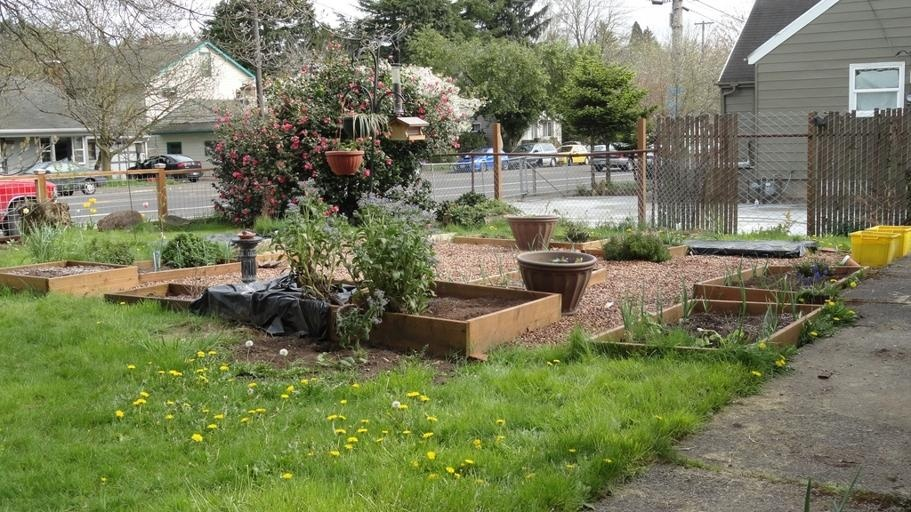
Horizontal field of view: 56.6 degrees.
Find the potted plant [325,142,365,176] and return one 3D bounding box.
[{"bbox_3d":[-1.985,-1.678,15.096,0.759,0.431,0.774,2,8,27],"label":"potted plant"}]

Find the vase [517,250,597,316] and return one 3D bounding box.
[{"bbox_3d":[1.539,0.437,12.842,1.093,0.757,1.084,2,4,20],"label":"vase"}]

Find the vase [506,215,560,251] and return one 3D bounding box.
[{"bbox_3d":[1.432,-0.484,16.082,0.748,0.515,0.765,0,4,32],"label":"vase"}]
